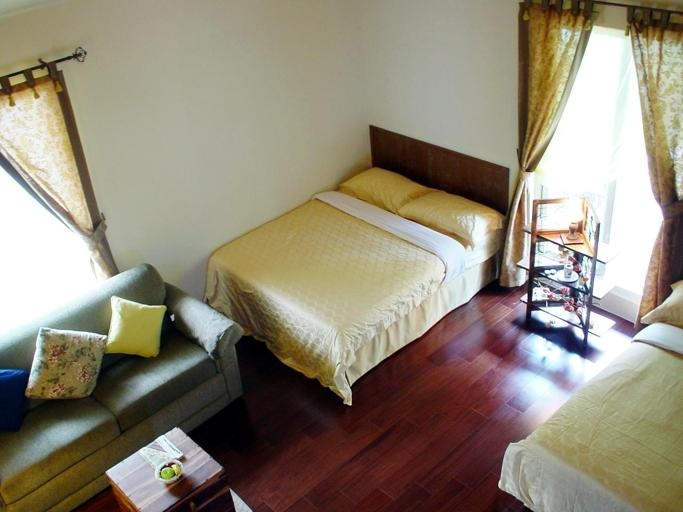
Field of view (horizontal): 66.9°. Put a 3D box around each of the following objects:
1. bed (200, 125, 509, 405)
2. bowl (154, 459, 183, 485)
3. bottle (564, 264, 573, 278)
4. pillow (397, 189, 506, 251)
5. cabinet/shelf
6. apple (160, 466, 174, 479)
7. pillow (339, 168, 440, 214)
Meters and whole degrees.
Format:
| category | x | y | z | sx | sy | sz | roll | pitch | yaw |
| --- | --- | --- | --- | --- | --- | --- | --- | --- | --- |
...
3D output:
| category | x | y | z | sx | sy | sz | roll | pitch | yaw |
| --- | --- | --- | --- | --- | --- | --- | --- | --- | --- |
| bed | 0.138 | -0.135 | 4.959 | 2.560 | 1.344 | 1.865 | -27 | 36 | -32 |
| bowl | -1.074 | 1.310 | 3.186 | 0.111 | 0.050 | 0.123 | 27 | 47 | 33 |
| bottle | 1.927 | 0.130 | 4.359 | 0.077 | 0.110 | 0.048 | -5 | 28 | 1 |
| pillow | 1.133 | -0.518 | 4.889 | 0.777 | 0.210 | 0.518 | 29 | 54 | 33 |
| cabinet/shelf | 1.940 | 0.116 | 4.417 | 0.326 | 1.295 | 0.720 | -32 | 39 | -29 |
| apple | -1.078 | 1.321 | 3.189 | 0.064 | 0.050 | 0.080 | -14 | 4 | 5 |
| pillow | 0.435 | -0.709 | 5.443 | 0.771 | 0.237 | 0.498 | 26 | 54 | 33 |
